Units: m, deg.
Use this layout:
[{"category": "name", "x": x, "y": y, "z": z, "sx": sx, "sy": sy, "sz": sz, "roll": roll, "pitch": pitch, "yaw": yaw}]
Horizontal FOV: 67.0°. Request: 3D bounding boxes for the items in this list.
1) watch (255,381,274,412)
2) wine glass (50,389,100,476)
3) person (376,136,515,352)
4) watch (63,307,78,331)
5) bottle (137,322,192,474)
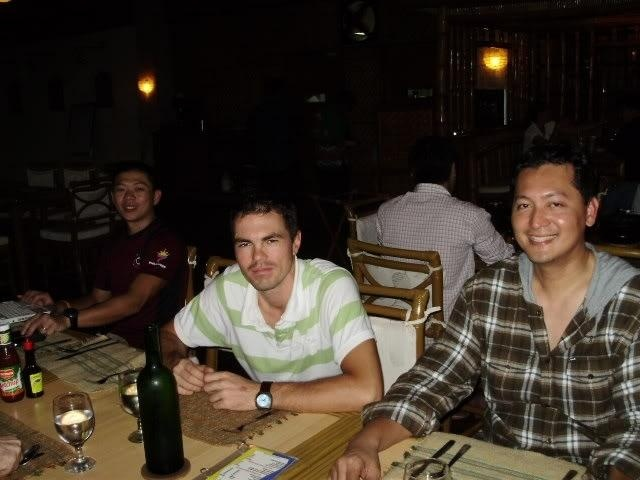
[{"category": "watch", "x": -0.182, "y": 0.518, "z": 1.584, "sx": 0.054, "sy": 0.069, "sz": 0.074, "roll": 1, "pitch": -4, "yaw": 0}, {"category": "wine glass", "x": -0.703, "y": 0.538, "z": 1.388, "sx": 0.100, "sy": 0.177, "sz": 0.216, "roll": -7, "pitch": 9, "yaw": -28}, {"category": "person", "x": 0.804, "y": 0.093, "z": 3.392, "sx": 0.882, "sy": 1.623, "sz": 0.851, "roll": 13, "pitch": 27, "yaw": 27}, {"category": "watch", "x": -1.219, "y": 0.381, "z": 2.383, "sx": 0.072, "sy": 0.103, "sz": 0.108, "roll": -4, "pitch": 29, "yaw": -17}, {"category": "bottle", "x": -0.429, "y": 0.425, "z": 1.288, "sx": 0.110, "sy": 0.407, "sz": 0.105, "roll": -2, "pitch": 9, "yaw": 0}]
